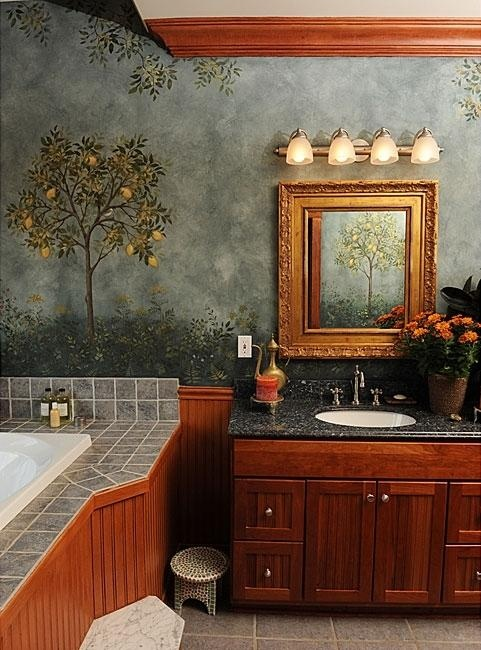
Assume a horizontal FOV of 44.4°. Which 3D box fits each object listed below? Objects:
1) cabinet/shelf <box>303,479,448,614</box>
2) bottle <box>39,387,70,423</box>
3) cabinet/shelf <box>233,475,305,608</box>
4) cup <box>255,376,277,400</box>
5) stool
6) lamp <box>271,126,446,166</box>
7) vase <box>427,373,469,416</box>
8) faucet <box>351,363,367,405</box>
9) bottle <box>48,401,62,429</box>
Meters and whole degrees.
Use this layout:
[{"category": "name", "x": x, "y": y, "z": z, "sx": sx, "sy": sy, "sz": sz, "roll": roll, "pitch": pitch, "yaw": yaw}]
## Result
[{"category": "cabinet/shelf", "x": 0.525, "y": 0.874, "z": 2.505, "sx": 0.577, "sy": 0.474, "sz": 0.400, "roll": 3, "pitch": -4, "yaw": -7}, {"category": "bottle", "x": -0.853, "y": 0.373, "z": 2.722, "sx": 0.169, "sy": 0.209, "sz": 0.078, "roll": 0, "pitch": 6, "yaw": -1}, {"category": "cabinet/shelf", "x": 0.109, "y": 0.854, "z": 2.346, "sx": 0.311, "sy": 0.504, "sz": 0.091, "roll": -2, "pitch": 13, "yaw": 9}, {"category": "cup", "x": 0.119, "y": 0.272, "z": 2.577, "sx": 0.096, "sy": 0.084, "sz": 0.097, "roll": 2, "pitch": 2, "yaw": 0}, {"category": "stool", "x": -0.168, "y": 1.060, "z": 2.436, "sx": 0.234, "sy": 0.161, "sz": 0.228, "roll": 0, "pitch": -4, "yaw": 6}, {"category": "lamp", "x": 0.530, "y": -0.784, "z": 2.593, "sx": 0.758, "sy": 0.173, "sz": 0.241, "roll": -3, "pitch": 12, "yaw": 1}, {"category": "vase", "x": 0.876, "y": 0.293, "z": 2.503, "sx": 0.181, "sy": 0.185, "sz": 0.175, "roll": 0, "pitch": -1, "yaw": 0}, {"category": "faucet", "x": 0.546, "y": 0.279, "z": 2.724, "sx": 0.066, "sy": 0.164, "sz": 0.151, "roll": -2, "pitch": 12, "yaw": 12}, {"category": "bottle", "x": -0.846, "y": 0.409, "z": 2.692, "sx": 0.052, "sy": 0.104, "sz": 0.117, "roll": -8, "pitch": 12, "yaw": -14}]
